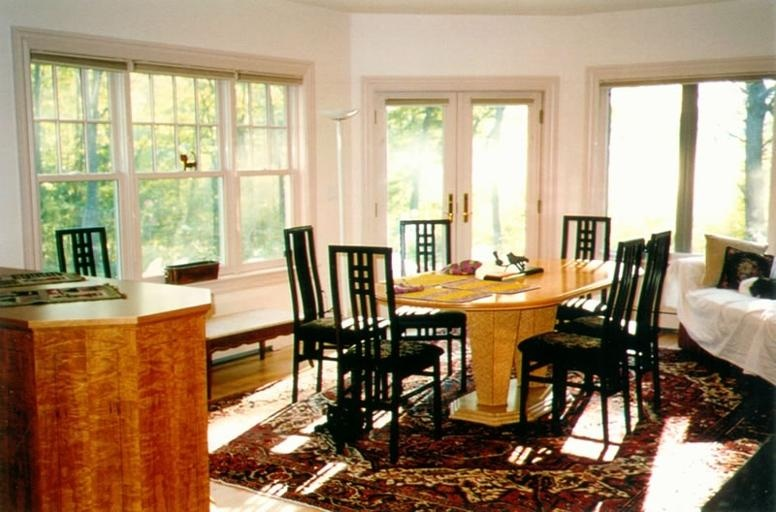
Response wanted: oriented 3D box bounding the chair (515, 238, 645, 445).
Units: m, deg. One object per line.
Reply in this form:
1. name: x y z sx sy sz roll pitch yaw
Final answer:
1. chair: 1.295 0.595 4.258 0.814 1.013 0.663 3 3 25

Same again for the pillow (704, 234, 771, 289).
1. pillow: 3.185 0.045 5.623 0.620 0.472 0.168 3 0 -17

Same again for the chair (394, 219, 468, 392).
1. chair: 0.307 0.383 5.533 0.935 1.222 0.849 2 25 11

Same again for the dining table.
1. dining table: 0.906 0.553 4.426 1.156 0.821 2.205 6 9 42
